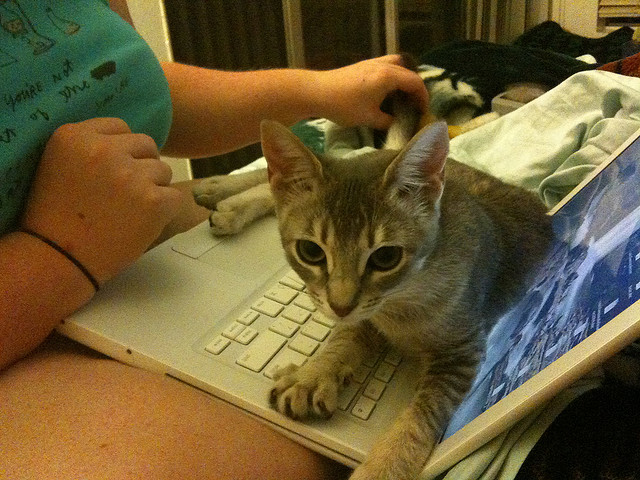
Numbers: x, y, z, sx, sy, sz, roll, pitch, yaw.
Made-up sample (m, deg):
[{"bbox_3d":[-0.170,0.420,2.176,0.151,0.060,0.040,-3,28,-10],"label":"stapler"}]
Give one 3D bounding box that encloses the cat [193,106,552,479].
[{"bbox_3d":[0.143,0.028,0.945,0.459,0.351,0.640,11,52,17],"label":"cat"}]
